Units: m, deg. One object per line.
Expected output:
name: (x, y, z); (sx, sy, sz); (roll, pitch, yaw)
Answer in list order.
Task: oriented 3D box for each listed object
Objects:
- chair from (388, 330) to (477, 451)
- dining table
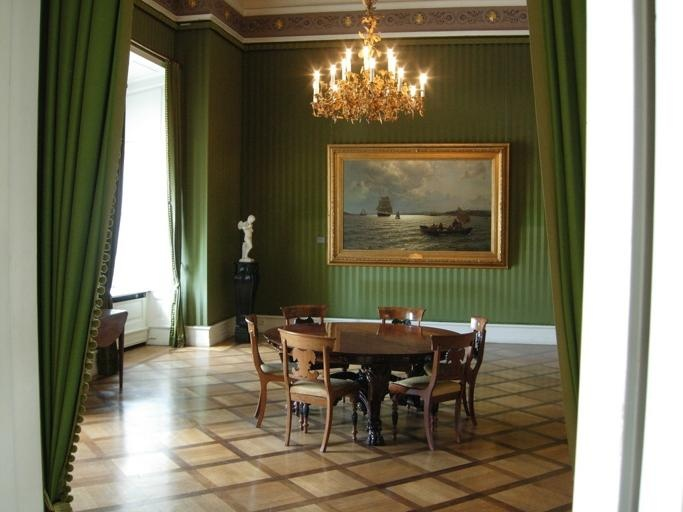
chair: (0.774, 1.022, 4.405); (0.596, 0.907, 0.525); (-2, 5, -37)
dining table: (0.164, 0.849, 4.610); (1.139, 0.546, 1.123); (0, -4, -16)
